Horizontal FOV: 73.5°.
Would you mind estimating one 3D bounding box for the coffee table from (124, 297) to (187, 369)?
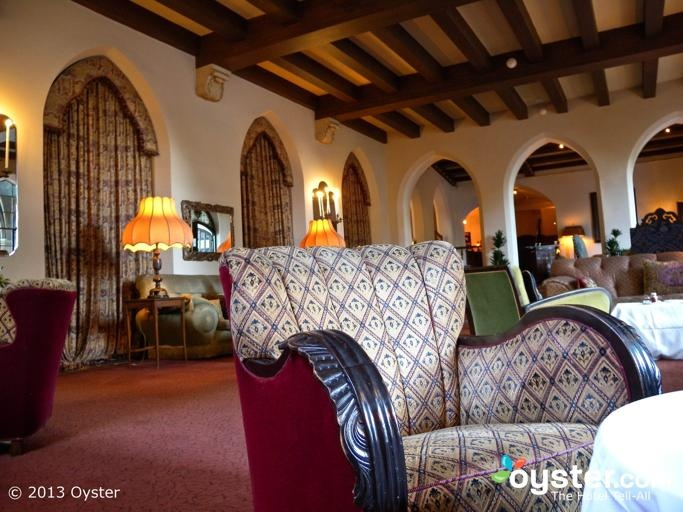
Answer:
[{"bbox_3d":[-1.765,0.692,4.620,0.505,0.690,0.501,-15,1,-20],"label":"coffee table"}]

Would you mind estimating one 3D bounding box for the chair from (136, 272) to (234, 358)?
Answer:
[{"bbox_3d":[-1.617,0.707,5.561,0.843,1.151,1.594,-6,-6,15],"label":"chair"}]

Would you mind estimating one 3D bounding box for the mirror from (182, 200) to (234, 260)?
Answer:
[{"bbox_3d":[-1.652,-0.312,5.520,0.050,0.765,0.702,-2,-2,34],"label":"mirror"}]

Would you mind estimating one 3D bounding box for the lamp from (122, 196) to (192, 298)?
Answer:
[{"bbox_3d":[-1.873,-0.100,4.618,0.559,1.030,0.383,-2,-3,13],"label":"lamp"}]

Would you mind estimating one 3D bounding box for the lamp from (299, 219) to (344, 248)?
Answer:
[{"bbox_3d":[-0.286,-0.308,6.614,0.416,0.307,0.444,-2,0,22],"label":"lamp"}]
